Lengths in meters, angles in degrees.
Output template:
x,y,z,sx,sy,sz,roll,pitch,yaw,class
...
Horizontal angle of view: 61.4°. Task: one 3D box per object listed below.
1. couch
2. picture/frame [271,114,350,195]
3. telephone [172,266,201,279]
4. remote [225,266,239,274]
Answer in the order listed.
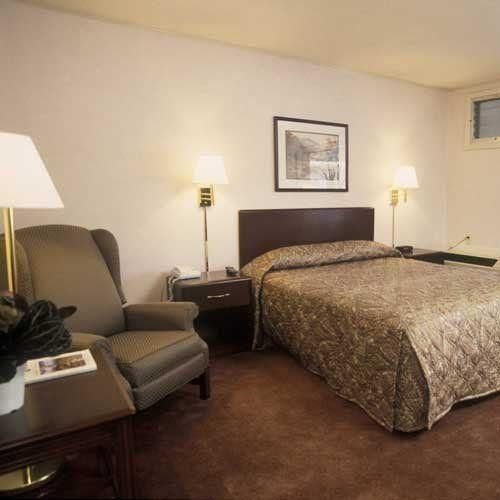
x,y,z,sx,sy,sz,roll,pitch,yaw,class
-0.805,0.314,2.568,1.199,1.212,1.012,4,7,37,couch
0.579,-0.911,4.074,0.041,0.697,1.000,-18,23,-33,picture/frame
-0.493,0.170,3.203,0.133,0.040,0.126,-1,9,-26,telephone
-0.153,0.158,3.300,0.057,0.021,0.075,-7,15,-34,remote
